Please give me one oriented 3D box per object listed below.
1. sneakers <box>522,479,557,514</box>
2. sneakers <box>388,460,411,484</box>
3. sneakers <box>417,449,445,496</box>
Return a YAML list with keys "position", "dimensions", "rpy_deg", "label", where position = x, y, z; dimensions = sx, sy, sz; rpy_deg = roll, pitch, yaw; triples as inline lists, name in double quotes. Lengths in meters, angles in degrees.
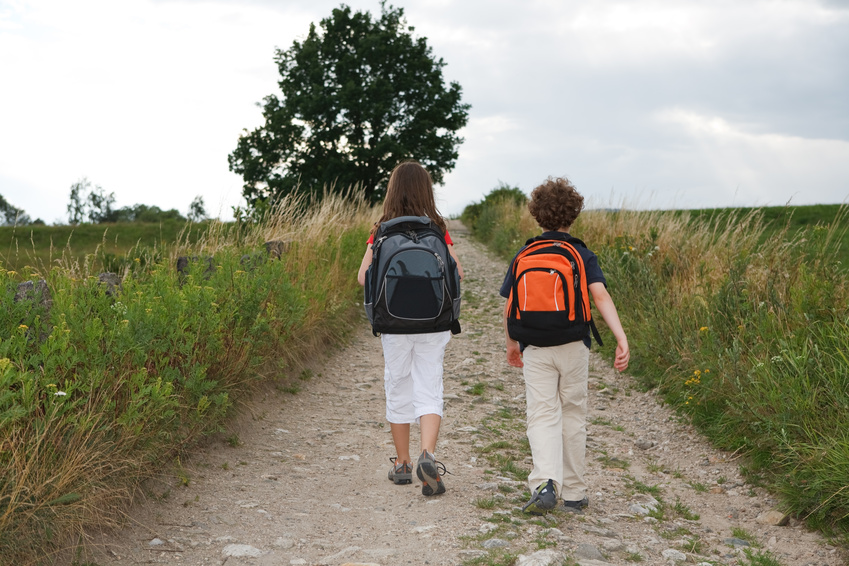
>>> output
- position: [1.099, 2.013, 7.290]
  dimensions: [0.335, 0.174, 0.274]
  rpy_deg: [-9, -11, 10]
  label: "sneakers"
- position: [-0.248, 1.948, 7.993]
  dimensions: [0.145, 0.156, 0.347]
  rpy_deg: [0, -3, -2]
  label: "sneakers"
- position: [0.071, 1.841, 7.623]
  dimensions: [0.252, 0.481, 0.229]
  rpy_deg: [-4, 32, 16]
  label: "sneakers"
